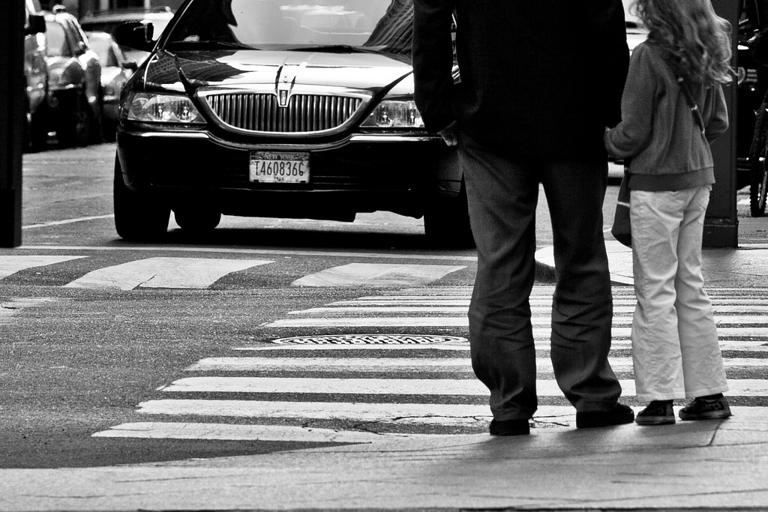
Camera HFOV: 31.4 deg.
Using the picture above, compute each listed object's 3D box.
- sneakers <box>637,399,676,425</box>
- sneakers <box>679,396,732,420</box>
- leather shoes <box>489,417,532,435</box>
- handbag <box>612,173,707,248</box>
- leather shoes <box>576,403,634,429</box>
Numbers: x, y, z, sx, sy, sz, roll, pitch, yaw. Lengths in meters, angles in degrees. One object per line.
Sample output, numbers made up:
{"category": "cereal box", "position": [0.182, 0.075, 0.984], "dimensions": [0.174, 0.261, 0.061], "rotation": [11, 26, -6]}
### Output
{"category": "sneakers", "position": [1.164, 0.667, 5.823], "dimensions": [0.168, 0.093, 0.137], "rotation": [0, 9, 2]}
{"category": "sneakers", "position": [1.406, 0.662, 5.922], "dimensions": [0.244, 0.106, 0.094], "rotation": [1, 1, 7]}
{"category": "leather shoes", "position": [0.525, 0.707, 5.645], "dimensions": [0.161, 0.079, 0.138], "rotation": [0, 9, 2]}
{"category": "handbag", "position": [1.217, -0.212, 6.153], "dimensions": [0.294, 0.420, 0.353], "rotation": [-2, 10, 16]}
{"category": "leather shoes", "position": [0.938, 0.682, 5.792], "dimensions": [0.276, 0.091, 0.094], "rotation": [-7, 11, -28]}
